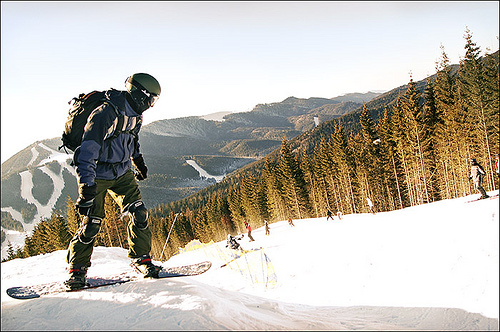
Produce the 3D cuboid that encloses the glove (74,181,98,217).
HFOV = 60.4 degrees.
[{"bbox_3d":[-5.990,1.245,15.814,0.756,0.953,0.424,6,-3,-22],"label":"glove"}]
